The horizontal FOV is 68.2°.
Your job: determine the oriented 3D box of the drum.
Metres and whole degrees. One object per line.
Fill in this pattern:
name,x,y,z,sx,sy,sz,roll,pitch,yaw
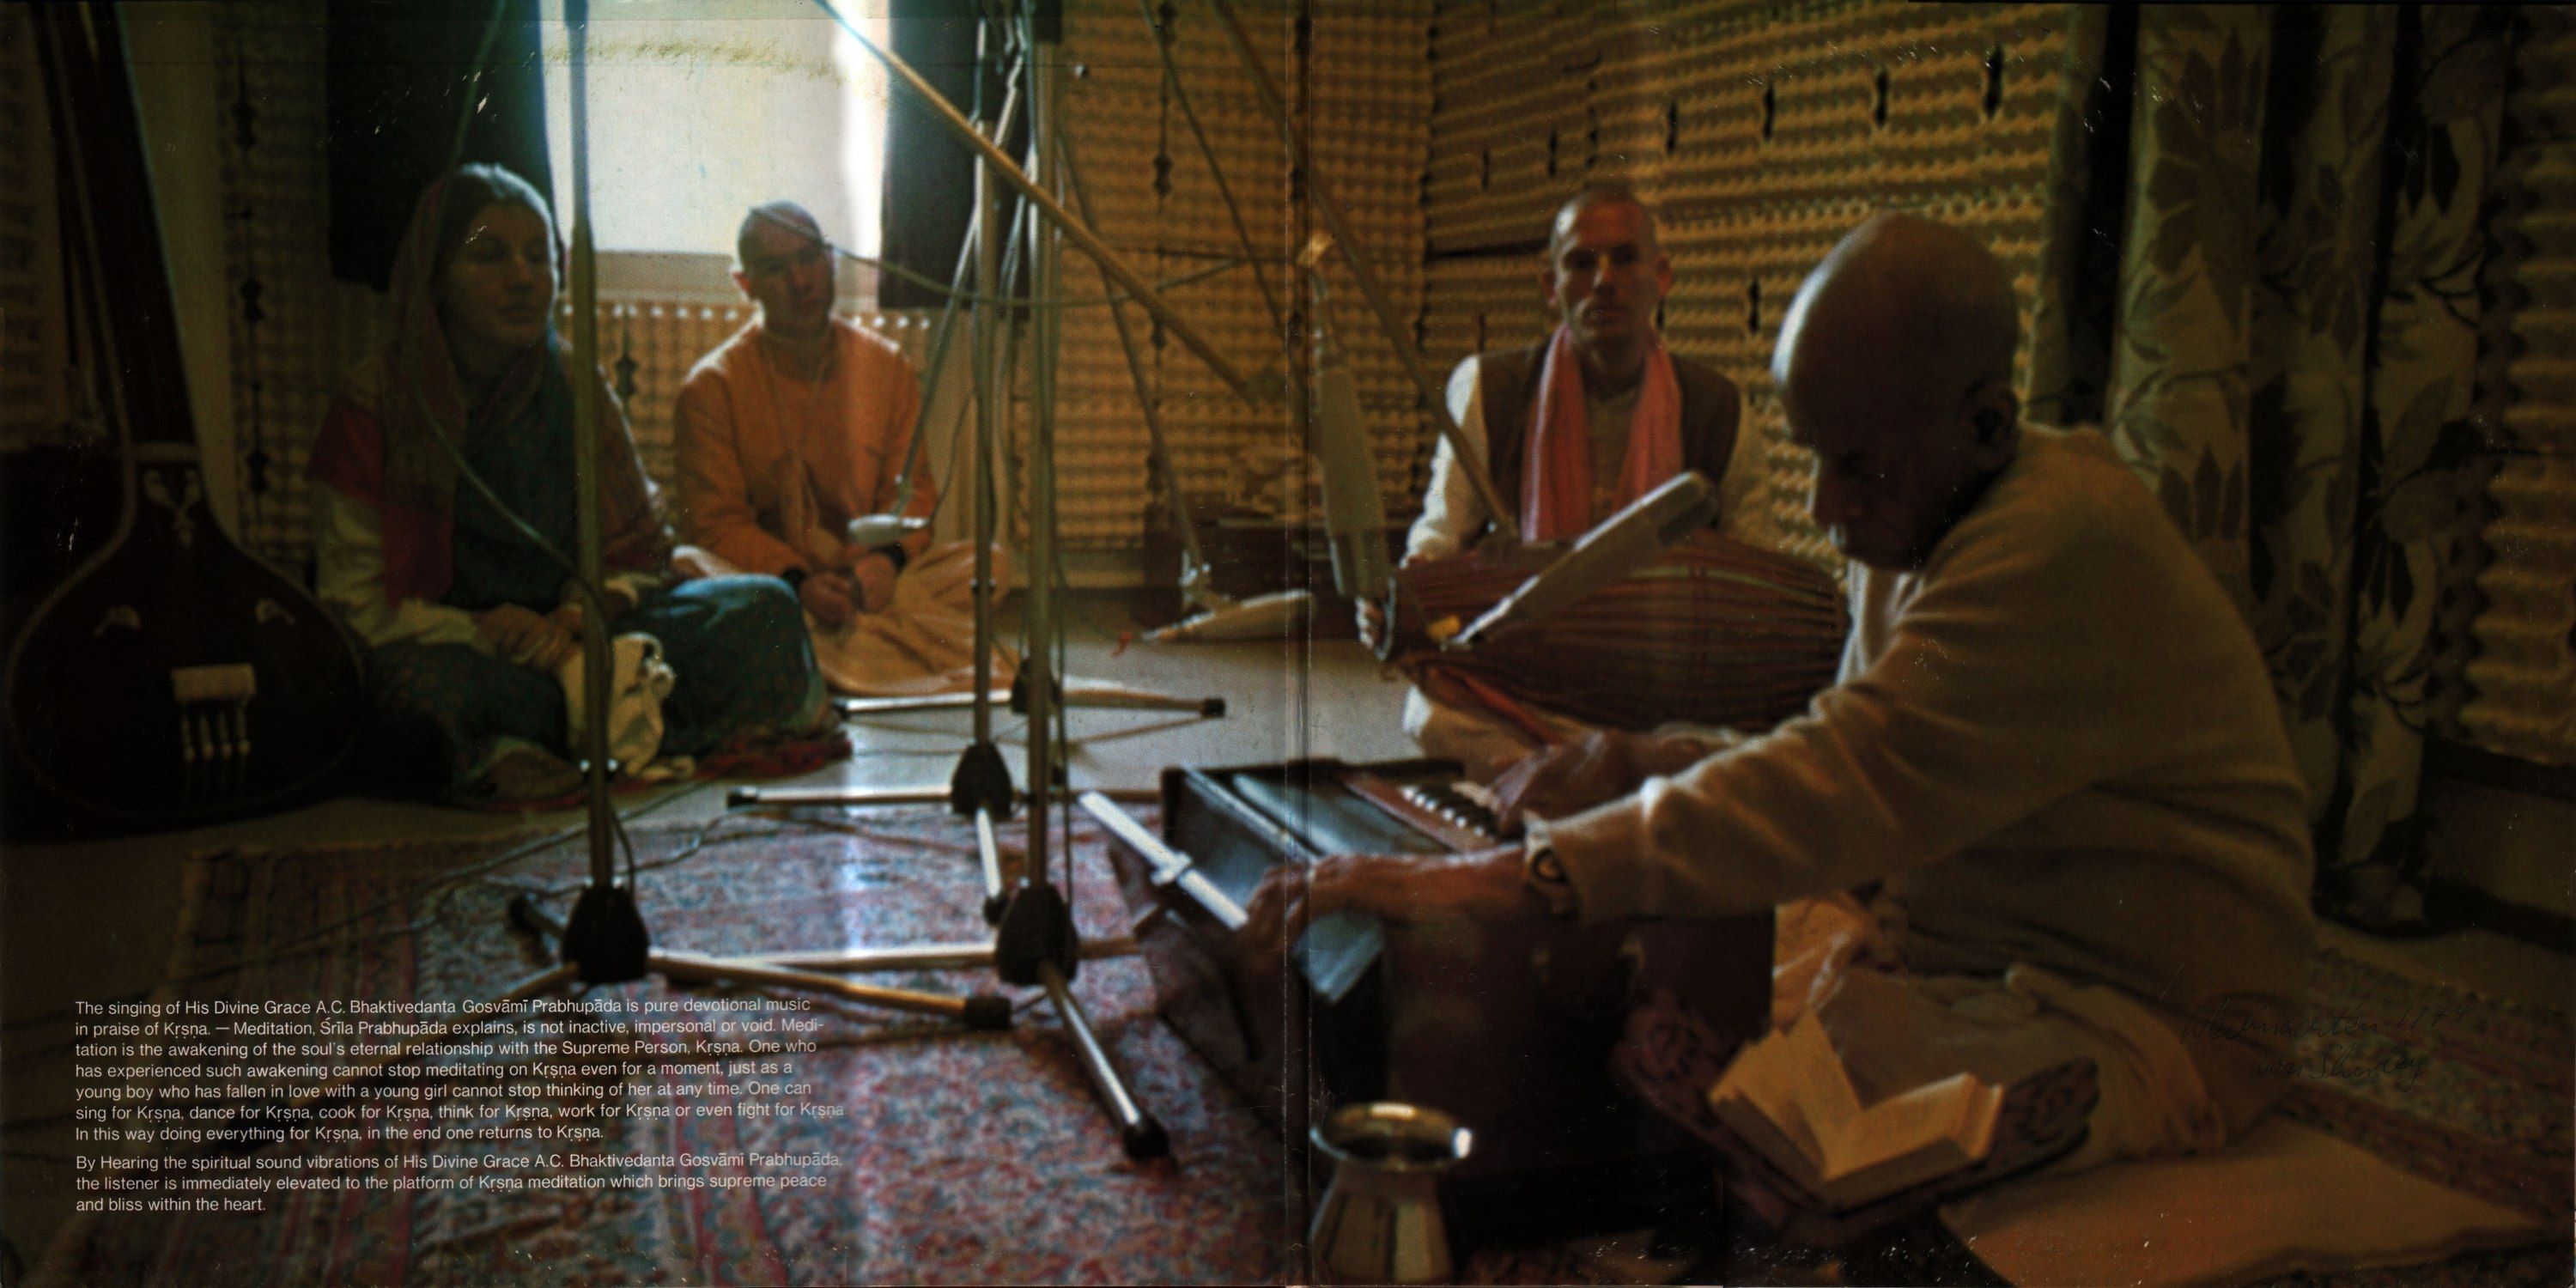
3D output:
drum,0.511,-0.003,2.814,0.559,0.188,0.299,1,-15,-1

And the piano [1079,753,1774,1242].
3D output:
piano,0.229,0.538,2.942,0.786,0.479,0.996,-1,4,-18

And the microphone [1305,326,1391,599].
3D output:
microphone,0.065,-0.256,2.770,0.106,0.353,0.105,-7,-3,-6

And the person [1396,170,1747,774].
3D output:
person,0.371,-0.342,2.925,0.727,0.906,0.552,1,5,6

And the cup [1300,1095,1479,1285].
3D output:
cup,0.148,0.811,2.868,0.285,0.168,0.255,2,-2,-10

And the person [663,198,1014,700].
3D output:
person,-0.705,-0.328,2.932,0.621,0.646,0.464,-22,36,-38
